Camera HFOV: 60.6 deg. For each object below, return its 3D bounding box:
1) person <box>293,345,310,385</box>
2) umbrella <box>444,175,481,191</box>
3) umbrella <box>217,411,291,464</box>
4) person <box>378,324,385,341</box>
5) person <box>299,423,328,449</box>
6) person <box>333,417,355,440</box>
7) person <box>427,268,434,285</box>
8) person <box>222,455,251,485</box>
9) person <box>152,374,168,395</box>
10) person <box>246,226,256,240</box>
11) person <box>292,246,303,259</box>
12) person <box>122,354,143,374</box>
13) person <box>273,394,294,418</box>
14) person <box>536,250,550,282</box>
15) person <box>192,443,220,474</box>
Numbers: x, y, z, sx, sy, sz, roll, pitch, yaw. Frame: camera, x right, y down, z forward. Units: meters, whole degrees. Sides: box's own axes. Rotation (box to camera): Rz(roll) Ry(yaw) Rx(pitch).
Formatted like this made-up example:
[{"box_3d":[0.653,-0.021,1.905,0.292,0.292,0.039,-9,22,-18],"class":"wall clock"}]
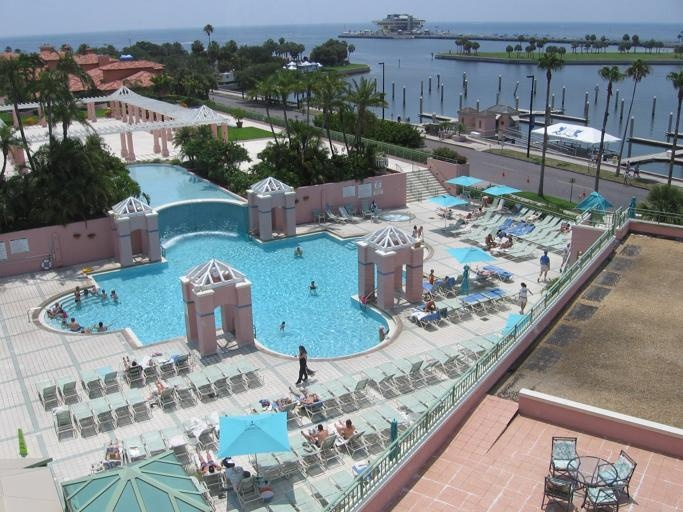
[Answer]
[{"box_3d":[-1.602,4.355,23.071,0.711,1.739,0.573,0,36,-4],"class":"person"},{"box_3d":[8.501,-5.167,41.017,1.646,0.543,1.577,-1,15,-1],"class":"umbrella"},{"box_3d":[-2.708,5.670,17.899,1.589,1.318,1.566,-6,43,-8],"class":"umbrella"},{"box_3d":[1.721,3.416,25.710,0.177,0.782,0.316,6,11,33],"class":"person"},{"box_3d":[-0.877,5.826,19.035,0.480,0.611,1.091,-11,7,-27],"class":"person"},{"box_3d":[0.067,5.558,19.175,0.445,0.510,0.750,-4,26,-9],"class":"person"},{"box_3d":[4.566,1.087,30.146,0.347,0.867,0.396,-4,23,-3],"class":"person"},{"box_3d":[-3.221,6.378,17.669,0.701,0.267,0.705,36,26,30],"class":"person"},{"box_3d":[-6.847,4.819,21.883,0.457,0.256,0.788,-5,19,-21],"class":"person"},{"box_3d":[-5.818,-1.447,37.643,0.727,0.439,0.719,0,28,0],"class":"person"},{"box_3d":[-2.633,-0.177,35.182,0.649,0.719,0.650,-3,24,-7],"class":"person"},{"box_3d":[-8.306,4.256,23.101,0.543,0.516,0.955,-6,33,-31],"class":"person"},{"box_3d":[-2.035,5.203,20.473,0.628,0.796,0.610,-7,54,-21],"class":"person"},{"box_3d":[10.632,0.389,30.619,0.537,1.330,2.012,6,21,20],"class":"person"},{"box_3d":[-4.227,6.404,18.180,0.482,0.332,0.973,-2,23,-21],"class":"person"}]
